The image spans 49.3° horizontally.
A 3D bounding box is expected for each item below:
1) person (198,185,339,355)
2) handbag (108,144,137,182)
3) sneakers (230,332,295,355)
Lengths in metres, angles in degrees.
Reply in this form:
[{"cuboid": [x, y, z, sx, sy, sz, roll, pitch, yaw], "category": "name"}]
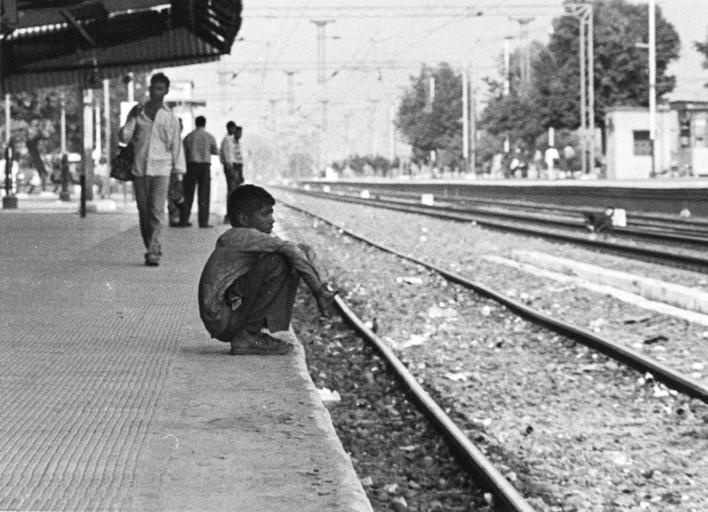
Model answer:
[{"cuboid": [-0.682, 0.125, 6.505, 1.095, 1.471, 0.791, -4, -9, 12], "category": "person"}, {"cuboid": [-3.351, -1.368, 11.184, 0.231, 0.521, 0.344, 8, 5, 39], "category": "handbag"}, {"cuboid": [-0.776, 0.703, 6.605, 0.523, 0.290, 0.204, -3, 5, -17], "category": "sneakers"}]
